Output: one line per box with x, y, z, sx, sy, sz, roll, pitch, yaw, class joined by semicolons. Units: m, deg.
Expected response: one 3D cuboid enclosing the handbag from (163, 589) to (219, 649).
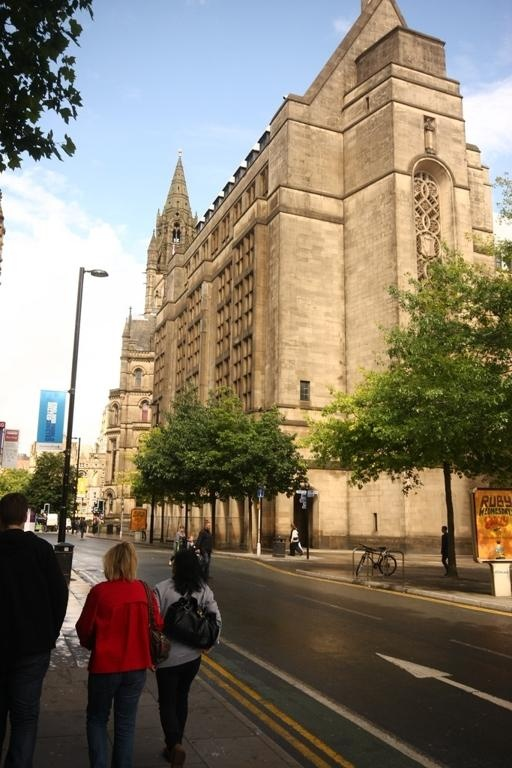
-0.440;1.681;4.219;0.390;0.347;0.178;27;-40;-12;handbag
